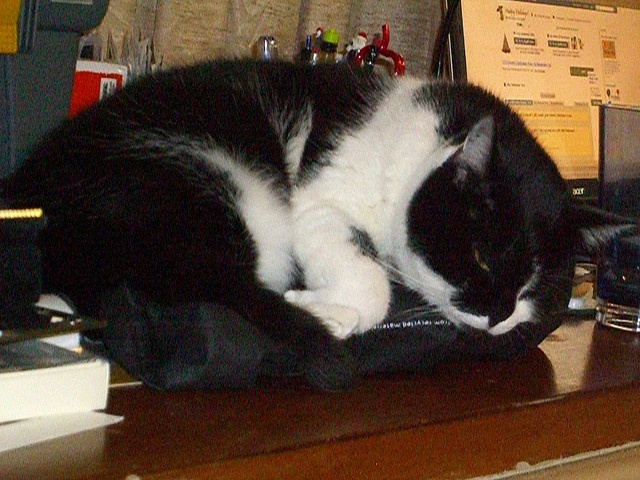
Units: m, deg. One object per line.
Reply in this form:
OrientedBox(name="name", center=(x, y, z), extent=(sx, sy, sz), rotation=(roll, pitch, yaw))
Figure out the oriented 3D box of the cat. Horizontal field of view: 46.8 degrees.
OrientedBox(name="cat", center=(-0.028, -0.023, 0.769), extent=(0.388, 0.213, 0.376), rotation=(4, 26, -20))
